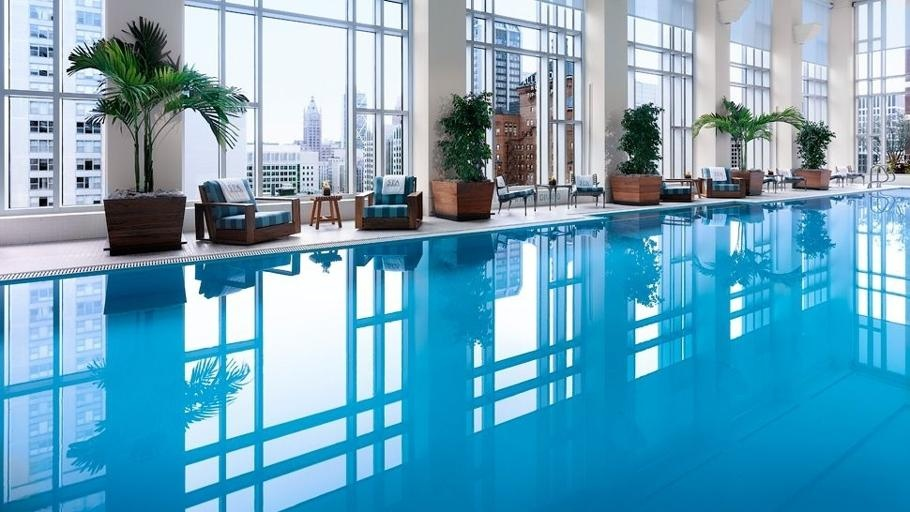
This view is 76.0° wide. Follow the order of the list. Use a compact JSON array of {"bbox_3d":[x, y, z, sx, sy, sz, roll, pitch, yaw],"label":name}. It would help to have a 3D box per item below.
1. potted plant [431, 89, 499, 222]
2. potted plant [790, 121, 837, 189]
[{"bbox_3d":[0.319,-2.209,13.511,1.312,2.622,1.279,1,2,27],"label":"potted plant"},{"bbox_3d":[13.514,-3.718,21.791,1.331,2.261,1.294,1,7,18],"label":"potted plant"}]
